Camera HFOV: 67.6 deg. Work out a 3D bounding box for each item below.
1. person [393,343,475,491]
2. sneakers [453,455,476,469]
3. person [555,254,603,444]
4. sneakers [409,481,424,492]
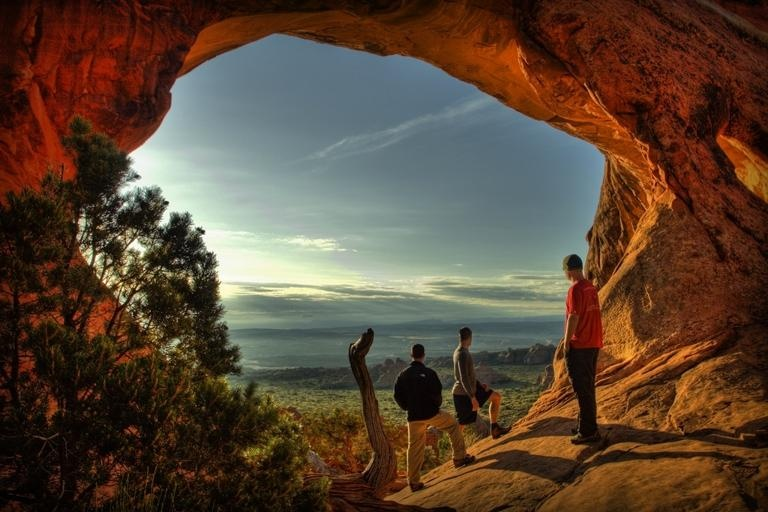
[{"bbox_3d":[0.985,3.589,12.715,1.548,3.222,0.686,2,-7,2],"label":"person"},{"bbox_3d":[1.772,4.529,12.607,0.495,0.216,0.211,-11,-3,-16],"label":"sneakers"},{"bbox_3d":[3.966,1.835,11.412,0.703,3.724,0.486,0,-7,18],"label":"person"},{"bbox_3d":[0.715,5.089,12.584,0.146,0.163,0.380,-10,-1,31],"label":"sneakers"}]
